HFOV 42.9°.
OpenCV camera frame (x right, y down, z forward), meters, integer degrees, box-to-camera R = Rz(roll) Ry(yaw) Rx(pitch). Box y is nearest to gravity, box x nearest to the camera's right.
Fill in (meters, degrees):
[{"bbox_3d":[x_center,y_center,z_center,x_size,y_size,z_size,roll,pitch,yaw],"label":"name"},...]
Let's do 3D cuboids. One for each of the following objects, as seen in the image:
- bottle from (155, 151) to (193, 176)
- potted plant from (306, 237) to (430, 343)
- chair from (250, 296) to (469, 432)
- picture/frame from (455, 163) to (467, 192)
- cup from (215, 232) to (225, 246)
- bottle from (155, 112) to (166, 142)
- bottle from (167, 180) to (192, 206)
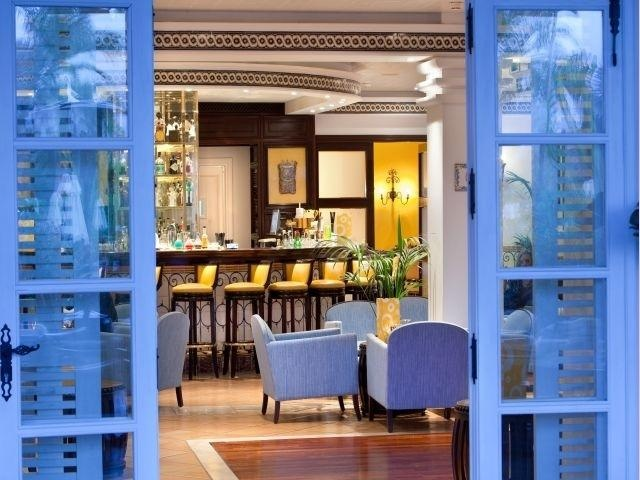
[{"bbox_3d":[-1.826,-0.967,10.287,0.546,0.351,0.394,0,4,-4],"label":"bottle"},{"bbox_3d":[0.520,0.377,6.421,0.681,0.925,0.588,6,3,28],"label":"potted plant"},{"bbox_3d":[0.386,0.974,6.304,1.231,0.807,0.925,-3,3,-15],"label":"chair"},{"bbox_3d":[1.505,-0.675,8.822,0.118,0.310,0.089,-1,2,-6],"label":"picture/frame"},{"bbox_3d":[-1.191,-0.020,9.796,0.141,0.223,0.172,-1,4,-8],"label":"cup"},{"bbox_3d":[-1.967,-1.355,10.082,0.115,0.283,0.215,-1,2,-7],"label":"bottle"},{"bbox_3d":[-1.770,-0.587,10.377,0.268,0.310,0.157,0,-2,1],"label":"bottle"}]
